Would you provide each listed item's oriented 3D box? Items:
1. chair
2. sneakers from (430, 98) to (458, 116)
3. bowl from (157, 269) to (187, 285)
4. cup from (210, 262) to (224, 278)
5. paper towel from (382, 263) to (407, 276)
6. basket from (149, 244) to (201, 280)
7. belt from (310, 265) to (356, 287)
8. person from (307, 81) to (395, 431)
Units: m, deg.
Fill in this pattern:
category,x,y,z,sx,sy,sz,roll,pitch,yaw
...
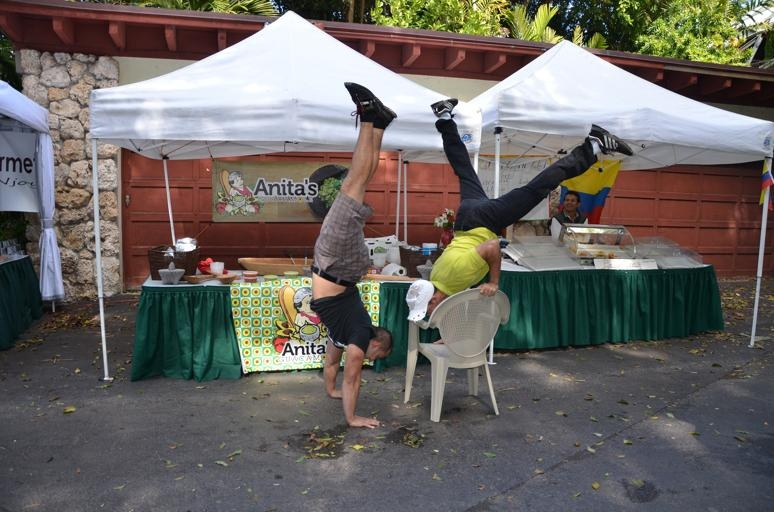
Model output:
category,x,y,z,sx,sy,sz,roll,pitch,yaw
chair,0.682,0.970,5.656,1.029,1.348,0.592,3,14,8
sneakers,0.619,-1.610,5.963,0.378,0.131,0.160,-26,33,-34
bowl,-2.394,0.223,6.124,0.186,0.144,0.227,-7,-2,18
cup,-1.966,0.165,6.473,0.158,0.154,0.151,2,1,0
paper towel,0.090,0.179,6.870,0.190,0.122,0.182,5,4,-21
basket,-2.406,0.078,6.265,0.496,0.293,0.365,-1,6,-15
belt,-0.531,0.222,5.429,0.282,0.062,0.257,13,8,-23
person,-0.342,0.028,5.328,0.795,3.285,0.570,1,14,-1
